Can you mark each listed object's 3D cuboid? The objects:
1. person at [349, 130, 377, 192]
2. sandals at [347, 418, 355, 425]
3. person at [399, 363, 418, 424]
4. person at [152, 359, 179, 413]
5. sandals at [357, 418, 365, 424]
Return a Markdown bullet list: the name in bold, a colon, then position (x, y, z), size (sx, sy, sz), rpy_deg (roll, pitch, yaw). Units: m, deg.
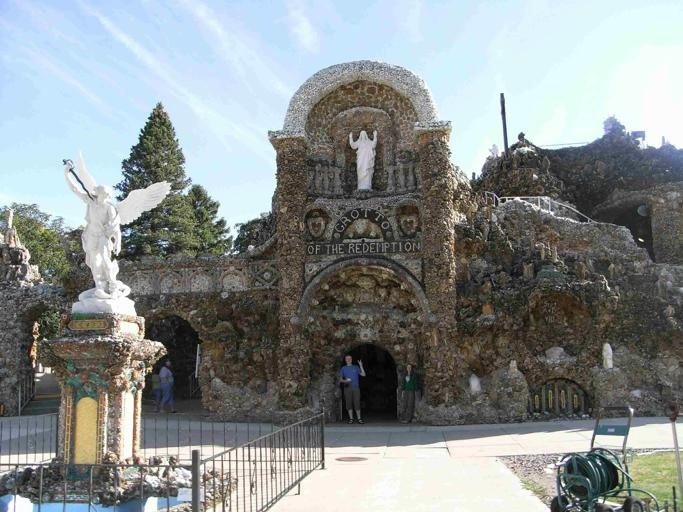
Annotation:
- **person**: position (0.779, -3.491, 27.626), size (1.063, 2.296, 0.517), rpy_deg (-2, -12, 1)
- **sandals**: position (0.260, 5.415, 25.259), size (0.152, 0.165, 0.424), rpy_deg (-3, -24, 6)
- **person**: position (2.209, 4.465, 25.070), size (0.575, 1.818, 1.112), rpy_deg (-2, -12, 3)
- **person**: position (-6.726, 4.768, 28.367), size (0.651, 1.883, 1.381), rpy_deg (1, -12, -13)
- **sandals**: position (0.574, 5.364, 25.042), size (0.125, 0.131, 0.308), rpy_deg (2, -21, -10)
